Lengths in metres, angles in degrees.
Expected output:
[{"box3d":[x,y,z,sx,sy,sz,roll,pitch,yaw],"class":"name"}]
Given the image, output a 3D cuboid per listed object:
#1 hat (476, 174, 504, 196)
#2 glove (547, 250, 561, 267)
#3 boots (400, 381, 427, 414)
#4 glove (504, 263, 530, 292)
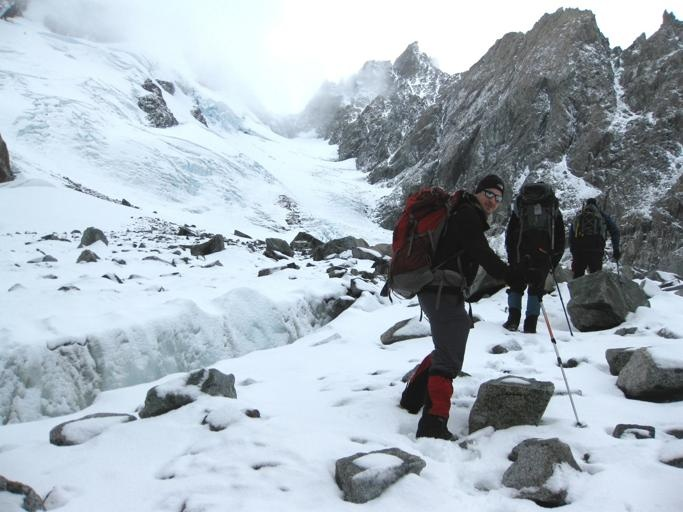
[{"box3d":[2.104,-1.039,7.899,0.302,0.233,0.284,2,-12,38],"class":"hat"},{"box3d":[3.621,0.036,9.459,0.175,0.240,0.752,10,11,28],"class":"glove"},{"box3d":[1.011,1.963,7.694,0.319,0.452,0.232,18,-3,-2],"class":"boots"},{"box3d":[2.535,0.287,8.029,0.282,0.550,0.392,8,19,13],"class":"glove"}]
